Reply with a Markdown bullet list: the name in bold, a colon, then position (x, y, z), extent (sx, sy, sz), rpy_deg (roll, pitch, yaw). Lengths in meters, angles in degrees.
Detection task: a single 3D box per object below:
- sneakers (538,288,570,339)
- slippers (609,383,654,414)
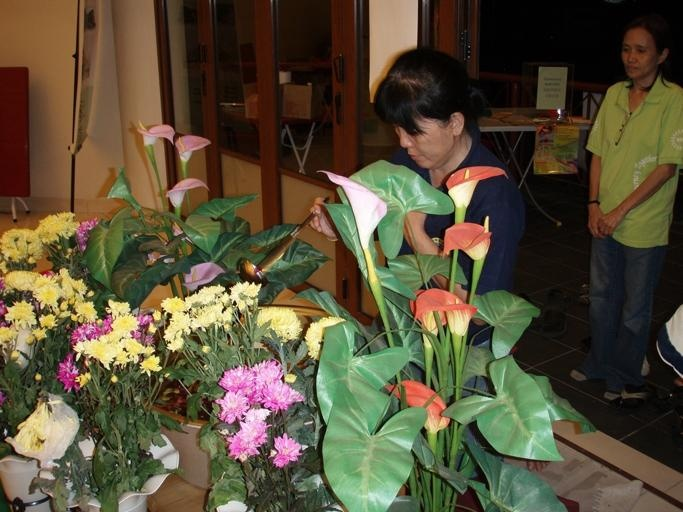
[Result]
- **sneakers**: position (1.324, 0.417, 3.318), extent (0.183, 0.070, 0.508), rpy_deg (-2, 39, 22)
- **slippers**: position (1.376, 0.676, 2.535), extent (0.175, 0.106, 0.073), rpy_deg (-12, -15, 9)
